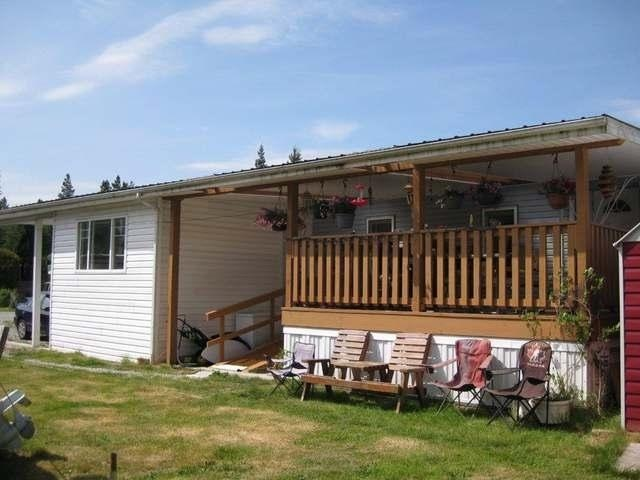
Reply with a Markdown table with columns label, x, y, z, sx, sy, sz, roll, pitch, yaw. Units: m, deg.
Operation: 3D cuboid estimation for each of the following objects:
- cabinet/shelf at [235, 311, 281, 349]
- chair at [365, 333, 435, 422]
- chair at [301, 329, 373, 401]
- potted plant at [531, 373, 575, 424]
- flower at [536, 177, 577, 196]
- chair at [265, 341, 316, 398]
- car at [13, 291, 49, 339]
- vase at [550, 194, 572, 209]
| label | x | y | z | sx | sy | sz | roll | pitch | yaw |
| --- | --- | --- | --- | --- | --- | --- | --- | --- | --- |
| cabinet/shelf | -1.511 | 2.181 | 17.303 | 0.984 | 0.828 | 0.541 | 3 | -7 | -17 |
| chair | 1.332 | 2.286 | 12.477 | 0.962 | 1.261 | 1.026 | 4 | -5 | -43 |
| chair | 0.273 | 2.292 | 13.055 | 0.983 | 1.267 | 1.092 | -1 | -5 | 38 |
| potted plant | 3.678 | 2.516 | 11.474 | 0.710 | 0.712 | 0.662 | 1 | -4 | -25 |
| flower | 4.617 | -1.022 | 13.606 | 0.446 | 0.219 | 0.450 | 0 | 1 | -24 |
| chair | -0.580 | 2.429 | 13.284 | 0.787 | 0.960 | 0.805 | 4 | 1 | 31 |
| car | -8.462 | 2.288 | 21.191 | 0.994 | 0.939 | 2.000 | 3 | -9 | -38 |
| vase | 4.592 | -0.762 | 13.670 | 0.330 | 0.236 | 0.449 | -5 | -9 | 37 |
